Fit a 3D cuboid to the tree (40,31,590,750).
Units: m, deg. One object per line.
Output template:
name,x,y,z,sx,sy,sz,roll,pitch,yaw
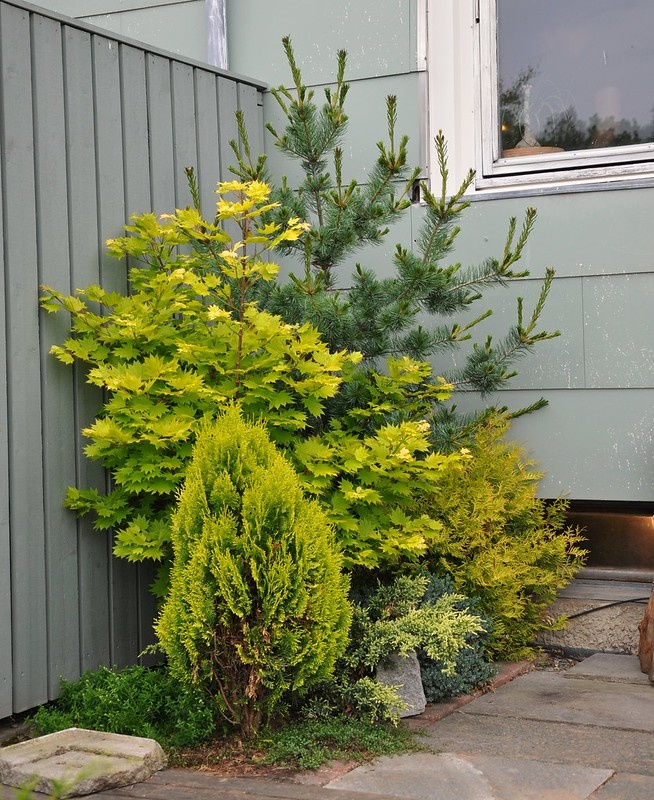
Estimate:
tree,-0.029,-0.156,4.427,2.091,2.443,1.237,-1,5,-20
